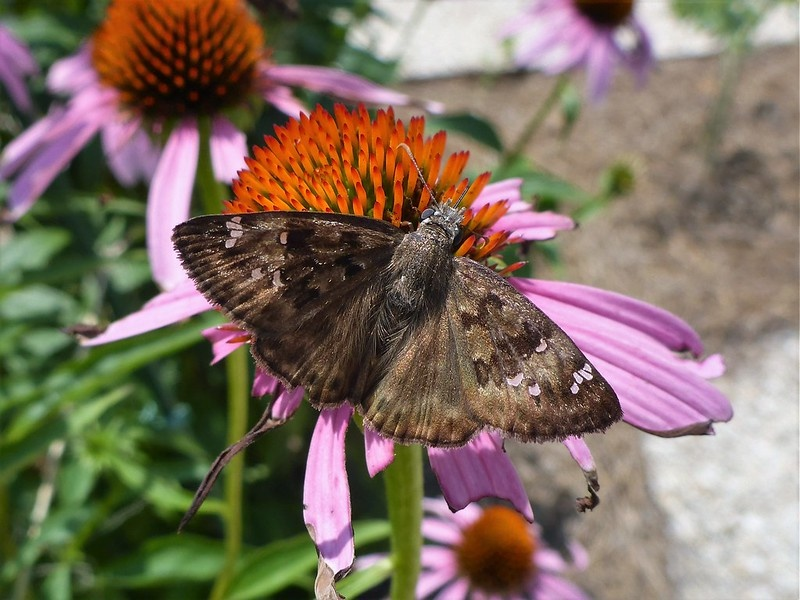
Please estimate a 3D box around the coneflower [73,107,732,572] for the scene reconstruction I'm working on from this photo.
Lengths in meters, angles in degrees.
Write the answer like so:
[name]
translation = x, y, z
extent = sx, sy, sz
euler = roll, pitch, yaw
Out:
[coneflower]
translation = 0.047, 0.077, 2.585
extent = 1.696, 0.437, 1.237
euler = 29, 110, 30
